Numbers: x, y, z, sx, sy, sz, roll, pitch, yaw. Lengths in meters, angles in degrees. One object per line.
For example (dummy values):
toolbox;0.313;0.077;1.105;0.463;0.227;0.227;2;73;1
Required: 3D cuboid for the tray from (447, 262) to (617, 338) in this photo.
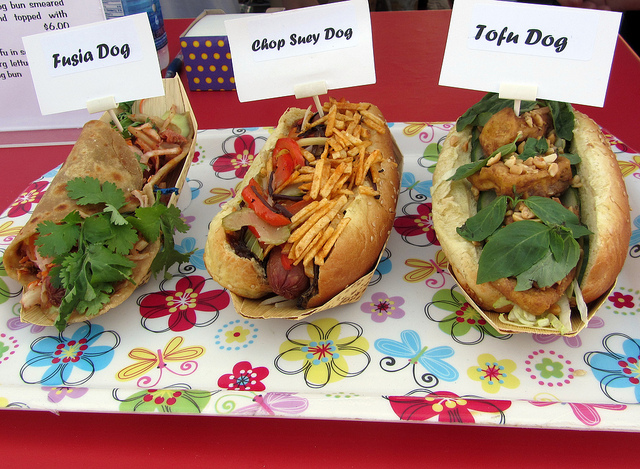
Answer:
tray;0.892;0.291;2.021;0.446;0.088;0.324;12;47;24
